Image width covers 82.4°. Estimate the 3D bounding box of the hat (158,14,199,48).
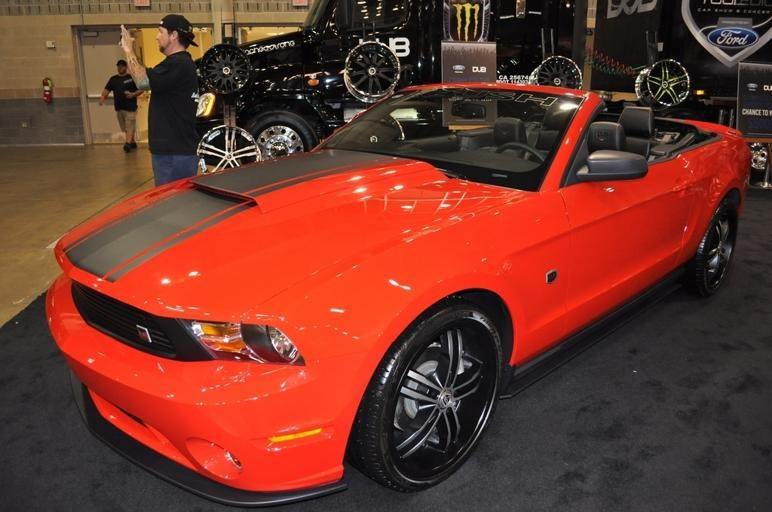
[{"bbox_3d":[-2.199,-2.438,4.728,0.240,0.330,0.456,-3,21,-4],"label":"hat"}]
